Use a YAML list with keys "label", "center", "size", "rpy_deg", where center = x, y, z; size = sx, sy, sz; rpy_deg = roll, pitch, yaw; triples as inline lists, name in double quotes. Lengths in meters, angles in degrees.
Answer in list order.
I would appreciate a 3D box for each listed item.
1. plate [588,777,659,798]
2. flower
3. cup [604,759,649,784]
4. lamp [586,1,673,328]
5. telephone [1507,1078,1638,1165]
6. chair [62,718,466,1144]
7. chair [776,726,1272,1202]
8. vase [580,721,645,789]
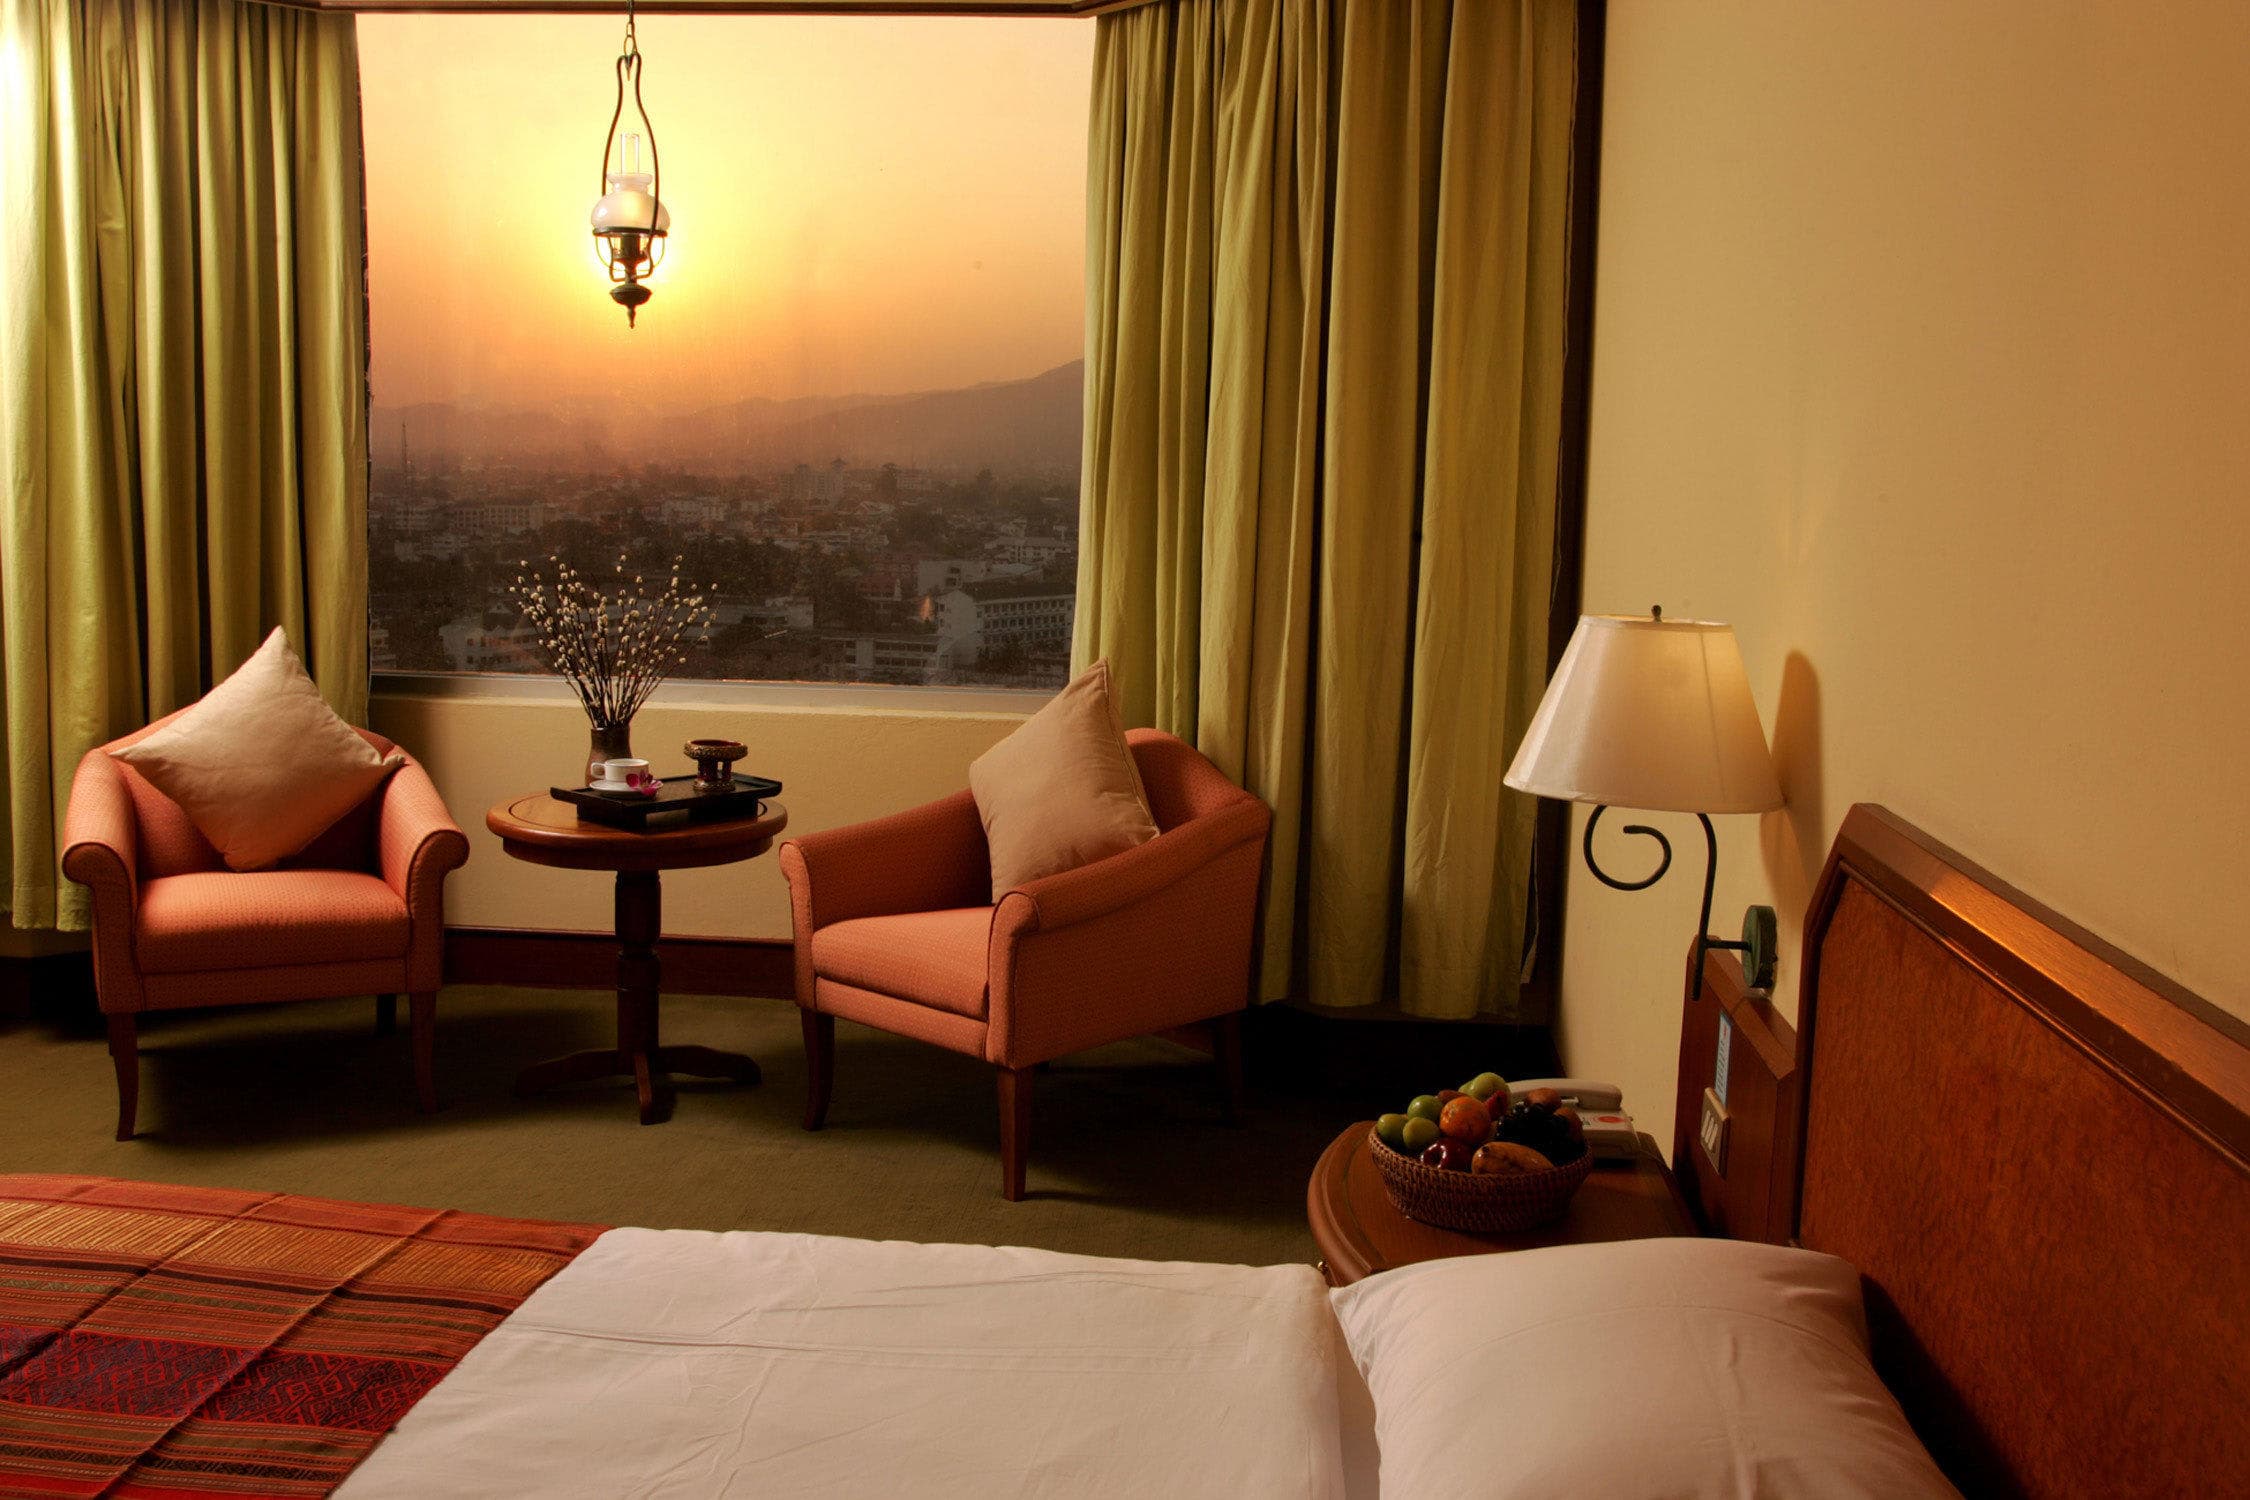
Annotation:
- label: "plate"
  center: [-1.349, 0.083, 4.495]
  size: [0.176, 0.039, 0.210]
  rpy_deg: [-2, 12, -19]
- label: "flower"
  center: [-1.674, -0.457, 5.319]
  size: [0.629, 0.715, 0.611]
  rpy_deg: [5, -4, -7]
- label: "cup"
  center: [-1.338, 0.060, 4.516]
  size: [0.071, 0.062, 0.091]
  rpy_deg: [0, -1, -33]
- label: "lamp"
  center: [-1.507, -1.791, 5.109]
  size: [0.241, 0.945, 0.822]
  rpy_deg: [-2, 12, -17]
- label: "telephone"
  center: [0.805, 0.644, 2.939]
  size: [0.162, 0.072, 0.165]
  rpy_deg: [-3, 11, -5]
- label: "chair"
  center: [-2.379, 0.436, 4.644]
  size: [0.969, 0.892, 0.801]
  rpy_deg: [0, 9, -25]
- label: "chair"
  center: [-0.278, 0.484, 4.520]
  size: [1.131, 1.045, 1.015]
  rpy_deg: [1, 5, -40]
- label: "vase"
  center: [-1.386, 0.005, 4.640]
  size: [0.202, 0.190, 0.138]
  rpy_deg: [-5, -6, 30]
